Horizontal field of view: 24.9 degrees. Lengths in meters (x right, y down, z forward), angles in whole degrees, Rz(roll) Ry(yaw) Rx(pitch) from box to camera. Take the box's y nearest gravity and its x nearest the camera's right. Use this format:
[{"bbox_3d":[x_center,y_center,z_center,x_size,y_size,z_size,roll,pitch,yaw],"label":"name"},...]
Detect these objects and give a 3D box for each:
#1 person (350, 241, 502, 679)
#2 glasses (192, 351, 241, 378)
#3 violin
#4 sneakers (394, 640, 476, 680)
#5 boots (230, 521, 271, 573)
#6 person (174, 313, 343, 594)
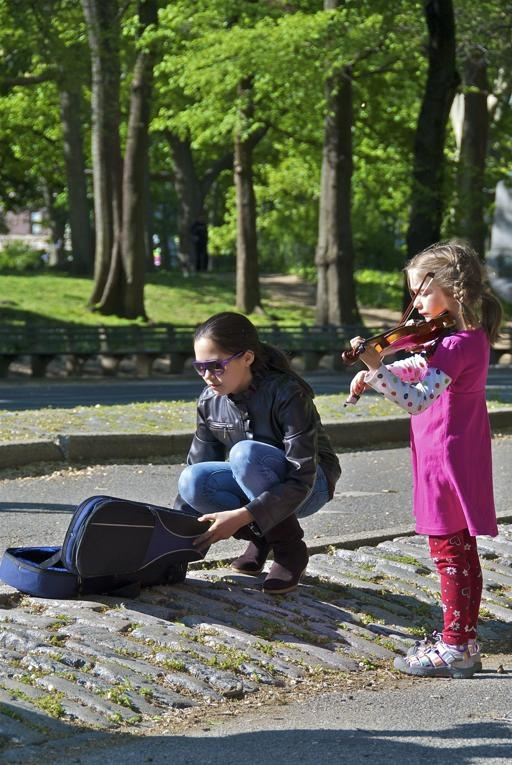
[{"bbox_3d":[0.605,0.254,4.060,0.518,1.481,0.355,5,6,5],"label":"person"},{"bbox_3d":[-0.144,-0.067,4.478,0.114,0.042,0.121,-9,6,38],"label":"glasses"},{"bbox_3d":[0.495,-0.115,3.994,0.404,0.080,0.176,-21,-7,-25],"label":"violin"},{"bbox_3d":[0.640,0.955,4.060,0.311,0.146,0.115,3,-3,0],"label":"sneakers"},{"bbox_3d":[-0.011,0.706,4.909,0.094,0.216,0.228,2,4,35],"label":"boots"},{"bbox_3d":[-0.069,0.299,4.657,0.830,1.052,0.833,-3,2,4],"label":"person"}]
